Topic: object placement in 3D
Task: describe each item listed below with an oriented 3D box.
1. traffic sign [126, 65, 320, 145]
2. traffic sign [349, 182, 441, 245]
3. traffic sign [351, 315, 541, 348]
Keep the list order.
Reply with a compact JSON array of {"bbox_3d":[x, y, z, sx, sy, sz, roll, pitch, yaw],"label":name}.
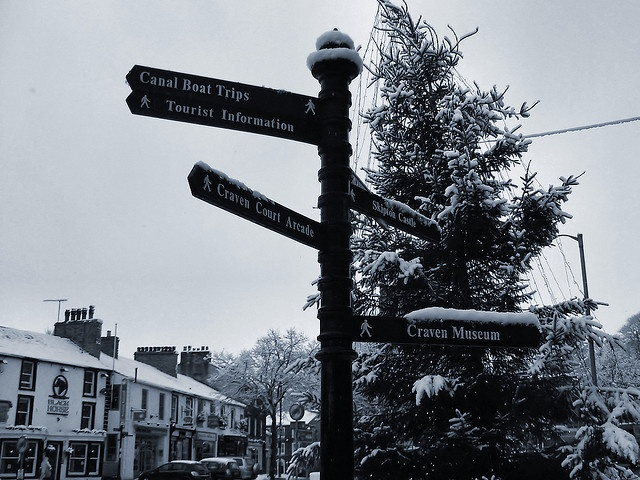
[{"bbox_3d":[-1.336,-1.751,9.346,2.092,0.578,0.032,10,-18,-10],"label":"traffic sign"},{"bbox_3d":[1.054,-0.380,10.346,1.706,0.700,0.256,5,-16,-36],"label":"traffic sign"},{"bbox_3d":[1.737,1.262,9.920,2.632,0.577,0.186,-3,-13,-13],"label":"traffic sign"}]
